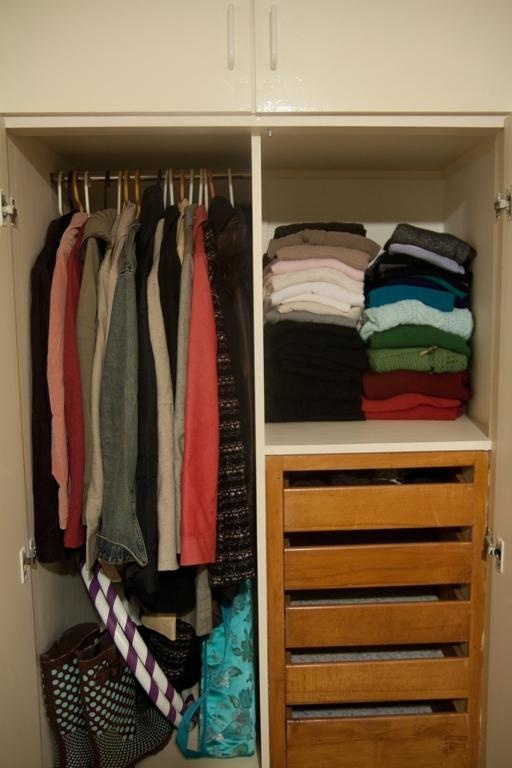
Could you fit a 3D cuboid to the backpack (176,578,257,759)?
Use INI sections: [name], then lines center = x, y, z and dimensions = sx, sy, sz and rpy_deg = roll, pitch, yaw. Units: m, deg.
[backpack]
center = -0.100, 0.704, 1.729
dimensions = 0.169, 0.480, 0.465
rpy_deg = -1, -1, 6
